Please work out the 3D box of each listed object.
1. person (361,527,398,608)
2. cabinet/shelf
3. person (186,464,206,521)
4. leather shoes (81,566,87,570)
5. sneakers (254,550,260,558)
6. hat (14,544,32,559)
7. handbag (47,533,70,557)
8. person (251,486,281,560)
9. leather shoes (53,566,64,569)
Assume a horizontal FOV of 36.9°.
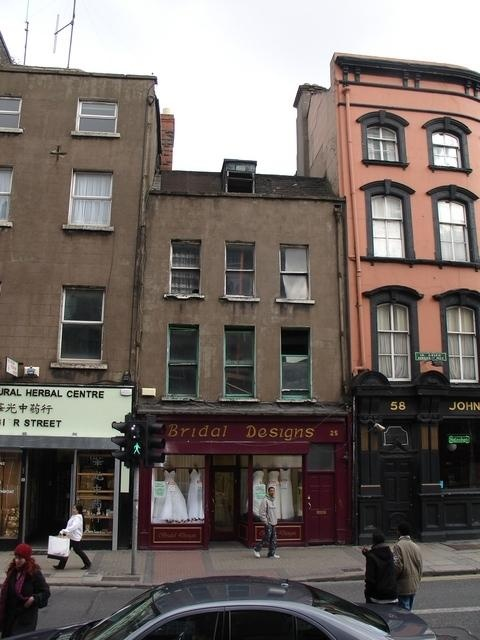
[{"bbox_3d":[1.911,3.683,9.771,0.410,1.531,0.415,3,-17,-7],"label":"person"},{"bbox_3d":[-3.499,4.344,17.533,0.899,2.380,0.642,-1,2,4],"label":"cabinet/shelf"},{"bbox_3d":[-1.136,4.386,18.100,0.389,1.333,0.140,3,-15,-15],"label":"person"},{"bbox_3d":[-3.276,5.185,15.049,0.166,0.062,0.104,-13,-20,33],"label":"leather shoes"},{"bbox_3d":[0.383,5.425,16.707,0.081,0.186,0.119,-1,26,24],"label":"sneakers"},{"bbox_3d":[-2.641,2.800,8.804,0.153,0.206,0.235,3,-24,2],"label":"hat"},{"bbox_3d":[-3.715,4.633,14.665,0.410,0.447,0.347,2,-16,-10],"label":"handbag"},{"bbox_3d":[0.632,4.855,17.521,0.574,1.762,1.730,-1,-16,3],"label":"person"},{"bbox_3d":[-3.816,5.150,14.986,0.196,0.088,0.108,-5,-17,12],"label":"leather shoes"}]
